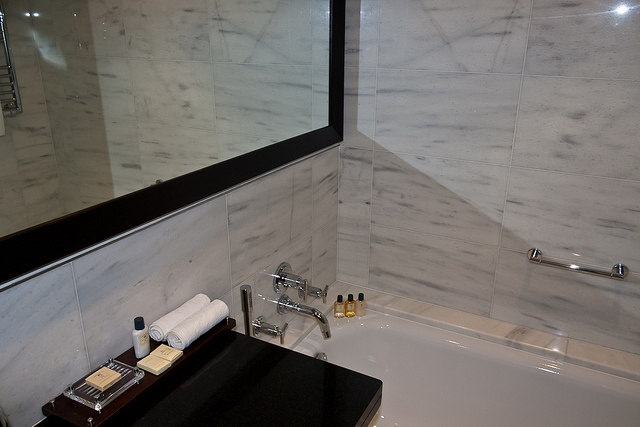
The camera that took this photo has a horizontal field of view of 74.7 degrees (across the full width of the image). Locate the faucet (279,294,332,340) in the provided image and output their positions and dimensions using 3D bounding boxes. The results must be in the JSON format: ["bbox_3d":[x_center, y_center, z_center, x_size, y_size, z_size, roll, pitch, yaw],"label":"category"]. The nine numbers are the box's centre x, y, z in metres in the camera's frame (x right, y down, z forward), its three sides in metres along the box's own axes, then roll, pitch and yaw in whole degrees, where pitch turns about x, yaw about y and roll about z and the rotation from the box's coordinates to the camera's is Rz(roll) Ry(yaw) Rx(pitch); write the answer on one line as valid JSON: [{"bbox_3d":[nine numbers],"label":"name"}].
[{"bbox_3d":[-0.078,0.500,2.039,0.328,0.101,0.145,7,-69,43],"label":"faucet"}]

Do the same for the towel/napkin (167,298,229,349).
[{"bbox_3d":[-0.435,0.397,1.516,0.121,0.255,0.086,16,-65,24],"label":"towel/napkin"}]
